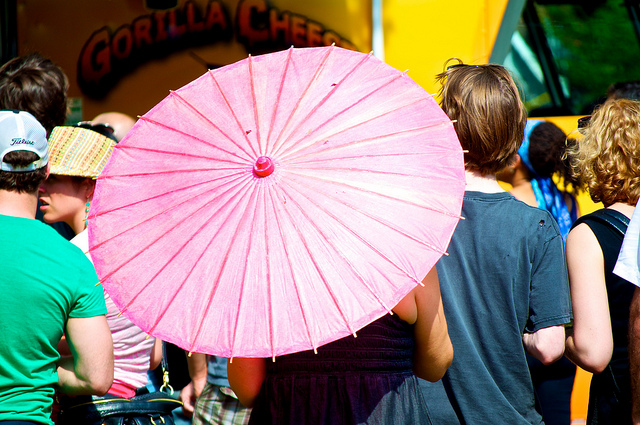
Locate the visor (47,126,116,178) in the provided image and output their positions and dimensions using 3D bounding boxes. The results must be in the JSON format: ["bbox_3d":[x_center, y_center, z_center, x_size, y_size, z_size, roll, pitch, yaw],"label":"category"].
[{"bbox_3d":[-1.545,-0.382,5.125,0.417,0.420,0.173,12,-31,-6],"label":"visor"}]

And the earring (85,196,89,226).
[{"bbox_3d":[-1.505,-0.008,5.153,0.020,0.187,0.063,2,-17,-17],"label":"earring"}]
